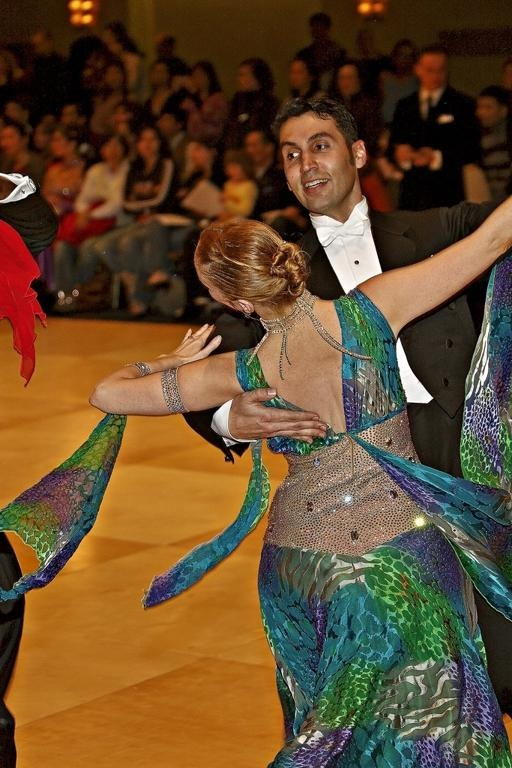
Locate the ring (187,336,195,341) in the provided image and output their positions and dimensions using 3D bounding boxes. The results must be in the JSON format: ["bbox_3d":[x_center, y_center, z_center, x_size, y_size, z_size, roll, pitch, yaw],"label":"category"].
[{"bbox_3d":[-0.154,-0.106,1.580,0.010,0.004,0.016,-9,18,8],"label":"ring"}]

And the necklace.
[{"bbox_3d":[0.080,-0.081,1.162,0.172,0.167,0.043,-33,-22,13],"label":"necklace"}]
